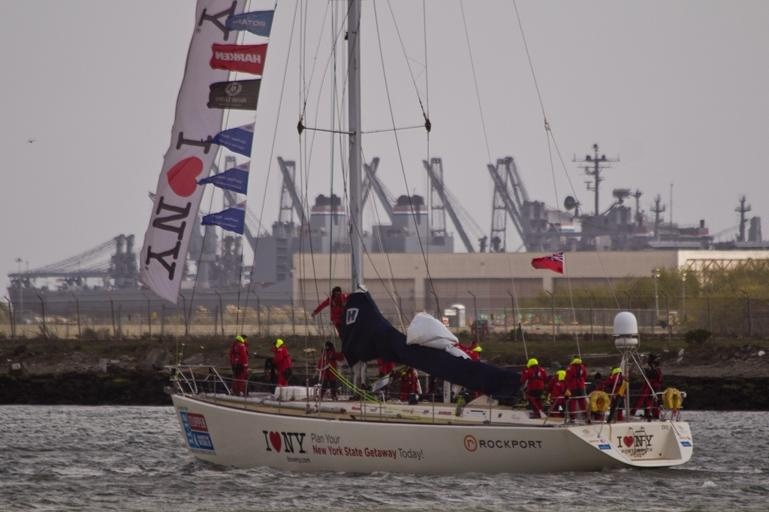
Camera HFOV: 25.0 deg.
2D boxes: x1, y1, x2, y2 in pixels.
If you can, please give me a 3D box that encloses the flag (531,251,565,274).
[{"bbox_3d":[7.619,0.245,78.333,1.384,1.229,0.222,8,14,30],"label":"flag"}]
